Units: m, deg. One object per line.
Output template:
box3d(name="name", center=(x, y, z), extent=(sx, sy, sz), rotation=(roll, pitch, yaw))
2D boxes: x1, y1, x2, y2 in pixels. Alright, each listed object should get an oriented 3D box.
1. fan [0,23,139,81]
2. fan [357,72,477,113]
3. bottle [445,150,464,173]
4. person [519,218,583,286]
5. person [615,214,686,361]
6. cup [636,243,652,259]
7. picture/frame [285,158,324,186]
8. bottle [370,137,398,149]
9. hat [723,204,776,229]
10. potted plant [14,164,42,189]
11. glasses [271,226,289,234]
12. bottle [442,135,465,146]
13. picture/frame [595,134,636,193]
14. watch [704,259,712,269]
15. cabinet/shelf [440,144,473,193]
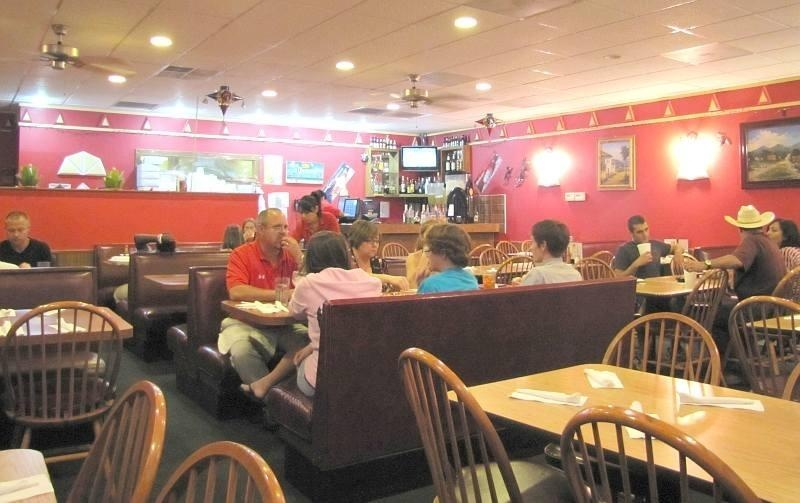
box3d(name="fan", center=(-3.544, -2.132, 6.677), extent=(0.922, 0.306, 0.858), rotation=(1, -1, -14))
box3d(name="fan", center=(0.406, -2.471, 9.809), extent=(1.673, 0.382, 2.591), rotation=(-3, 8, -22))
box3d(name="bottle", center=(1.168, -1.903, 12.660), extent=(0.177, 0.454, 0.516), rotation=(-3, 5, -38))
box3d(name="person", center=(1.270, 0.059, 5.088), extent=(0.756, 0.626, 0.371), rotation=(2, 1, -42))
box3d(name="person", center=(2.983, 0.285, 7.022), extent=(0.779, 1.256, 0.719), rotation=(-14, 13, -8))
box3d(name="cup", center=(2.851, -0.008, 6.933), extent=(0.172, 0.120, 0.165), rotation=(-3, -8, 0))
box3d(name="picture/frame", center=(-1.957, -1.603, 12.053), extent=(0.652, 0.346, 0.062), rotation=(0, 1, -28))
box3d(name="bottle", center=(-0.318, -2.292, 12.706), extent=(0.314, 0.144, 0.419), rotation=(7, 10, 31))
box3d(name="hat", center=(4.301, -0.431, 7.343), extent=(0.428, 0.163, 0.446), rotation=(-8, 1, 7))
box3d(name="potted plant", center=(-5.165, -1.048, 8.380), extent=(0.217, 0.303, 0.554), rotation=(-4, 9, -30))
box3d(name="glasses", center=(-1.048, -0.195, 5.294), extent=(0.095, 0.103, 0.069), rotation=(-2, 7, -37))
box3d(name="bottle", center=(1.163, -2.325, 12.627), extent=(0.119, 0.226, 0.546), rotation=(-7, 10, -40))
box3d(name="picture/frame", center=(3.614, -1.466, 9.984), extent=(0.094, 1.246, 1.025), rotation=(-4, 6, -38))
box3d(name="watch", center=(3.294, 0.135, 6.430), extent=(0.060, 0.024, 0.067), rotation=(8, 45, 2))
box3d(name="cabinet/shelf", center=(1.149, -1.732, 12.676), extent=(0.813, 1.025, 0.274), rotation=(6, 10, 40))
